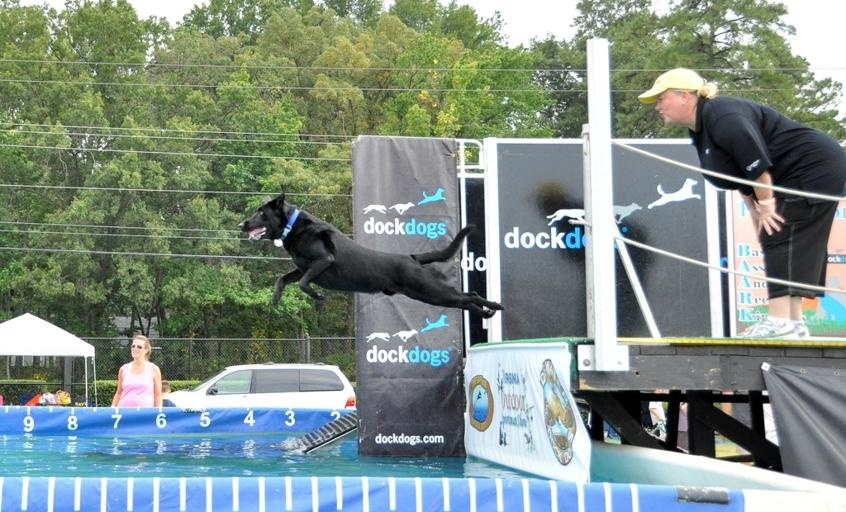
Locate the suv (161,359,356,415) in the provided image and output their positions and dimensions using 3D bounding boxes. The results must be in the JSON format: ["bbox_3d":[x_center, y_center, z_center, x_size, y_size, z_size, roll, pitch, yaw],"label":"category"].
[{"bbox_3d":[-6.184,4.656,57.281,6.346,2.176,2.718,3,-10,-5],"label":"suv"}]
